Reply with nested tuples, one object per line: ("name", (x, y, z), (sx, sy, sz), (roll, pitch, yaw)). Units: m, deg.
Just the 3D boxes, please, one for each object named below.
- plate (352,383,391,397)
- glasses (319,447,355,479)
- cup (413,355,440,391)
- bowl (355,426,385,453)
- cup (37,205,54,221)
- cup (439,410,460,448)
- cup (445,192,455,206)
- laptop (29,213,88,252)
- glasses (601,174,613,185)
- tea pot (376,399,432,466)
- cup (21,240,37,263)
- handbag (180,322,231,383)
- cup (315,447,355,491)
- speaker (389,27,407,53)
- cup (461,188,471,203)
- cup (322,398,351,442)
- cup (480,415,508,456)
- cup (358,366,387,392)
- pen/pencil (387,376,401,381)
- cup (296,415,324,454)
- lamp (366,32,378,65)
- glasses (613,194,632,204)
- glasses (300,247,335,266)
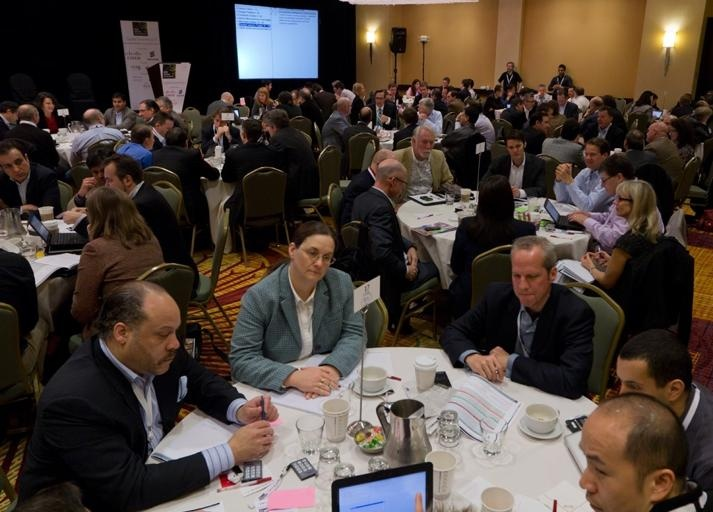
("plate", (0.072, 0.614, 2.292), (0.191, 0.035, 0.077), (-1, 14, 0))
("glasses", (-0.069, 0.784, 1.940), (0.075, 0.131, 0.128), (3, 3, 39))
("cup", (0.322, 0.551, 2.351), (0.121, 0.144, 0.128), (0, 12, 0))
("bowl", (0.050, 0.733, 2.000), (0.079, 0.034, 0.081), (-2, 14, 0))
("cup", (-2.587, -0.364, 4.176), (0.116, 0.129, 0.112), (3, 12, -1))
("cup", (0.377, 0.707, 2.049), (0.069, 0.092, 0.124), (1, 18, 6))
("cup", (0.941, -0.581, 5.021), (0.118, 0.140, 0.120), (-1, 6, 0))
("laptop", (-2.280, -0.193, 3.897), (0.443, 0.240, 0.498), (-4, 7, -30))
("glasses", (2.131, -0.646, 4.237), (0.076, 0.028, 0.082), (-10, 28, -22))
("tea pot", (0.162, 0.684, 1.917), (0.154, 0.252, 0.224), (-13, 17, -39))
("cup", (-2.385, -0.048, 3.607), (0.097, 0.110, 0.249), (-10, 16, -34))
("handbag", (-1.284, 0.848, 3.963), (0.291, 0.453, 0.406), (16, 20, -27))
("cup", (-0.090, 0.806, 1.919), (0.113, 0.118, 0.096), (-12, 23, -29))
("speaker", (1.328, -6.994, 16.108), (0.511, 0.758, 0.270), (-5, 14, -16))
("cup", (1.054, -0.598, 4.903), (0.119, 0.145, 0.126), (-1, 11, 0))
("cup", (-0.101, 0.683, 2.056), (0.137, 0.144, 0.127), (1, 8, 0))
("cup", (0.545, 0.726, 2.039), (0.099, 0.114, 0.104), (-1, 8, 0))
("cup", (0.070, 0.567, 2.292), (0.096, 0.063, 0.131), (-1, 14, 0))
("pen/pencil", (0.174, 0.582, 2.378), (0.057, 0.017, 0.014), (13, 55, 10))
("cup", (-0.174, 0.728, 1.997), (0.120, 0.119, 0.130), (-8, -15, -2))
("lamp", (0.481, -7.007, 16.610), (0.356, 1.075, 0.095), (1, 14, 7))
("glasses", (1.894, -0.408, 3.535), (0.031, 0.044, 0.127), (-6, 14, -18))
("glasses", (-0.183, -0.004, 2.477), (0.173, 0.095, 0.067), (-9, 16, -31))
